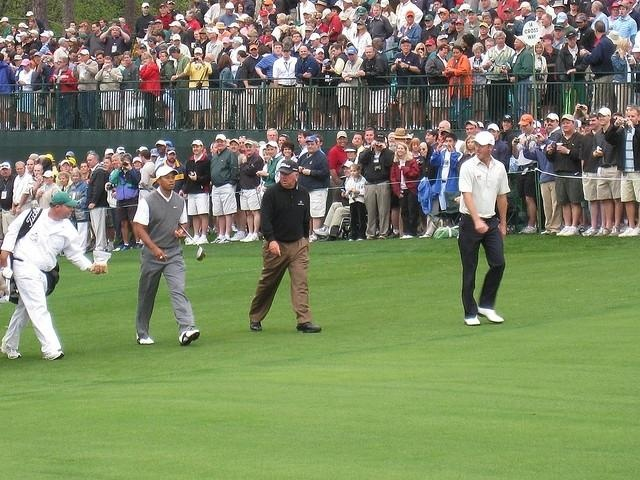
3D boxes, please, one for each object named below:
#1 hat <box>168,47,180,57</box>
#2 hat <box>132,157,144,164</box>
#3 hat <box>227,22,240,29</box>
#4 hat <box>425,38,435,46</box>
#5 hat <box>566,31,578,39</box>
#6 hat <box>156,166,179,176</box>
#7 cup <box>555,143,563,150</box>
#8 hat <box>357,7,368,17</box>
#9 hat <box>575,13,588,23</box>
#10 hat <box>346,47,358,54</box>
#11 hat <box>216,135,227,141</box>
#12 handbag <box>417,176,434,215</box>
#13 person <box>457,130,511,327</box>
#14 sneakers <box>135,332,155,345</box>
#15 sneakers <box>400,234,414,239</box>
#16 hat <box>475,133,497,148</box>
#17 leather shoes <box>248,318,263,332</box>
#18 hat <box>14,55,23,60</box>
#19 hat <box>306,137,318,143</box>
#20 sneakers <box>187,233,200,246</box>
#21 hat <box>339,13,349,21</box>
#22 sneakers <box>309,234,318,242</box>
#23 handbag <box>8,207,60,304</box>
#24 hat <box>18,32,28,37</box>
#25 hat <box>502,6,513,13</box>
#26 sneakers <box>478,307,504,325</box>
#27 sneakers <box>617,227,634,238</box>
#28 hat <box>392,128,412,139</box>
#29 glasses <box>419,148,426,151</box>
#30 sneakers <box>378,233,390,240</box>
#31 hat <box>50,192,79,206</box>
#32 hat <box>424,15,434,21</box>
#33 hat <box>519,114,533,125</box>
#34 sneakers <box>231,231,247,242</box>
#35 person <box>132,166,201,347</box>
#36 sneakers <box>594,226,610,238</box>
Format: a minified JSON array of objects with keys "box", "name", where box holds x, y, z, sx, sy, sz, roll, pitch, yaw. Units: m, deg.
[{"box":[-3.855,-4.982,33.056,0.198,0.290,0.222,8,-7,7],"name":"hat"},{"box":[-4.313,-1.919,29.517,0.201,0.158,0.341,1,-8,-7],"name":"hat"},{"box":[-2.237,-5.647,32.755,0.262,0.148,0.196,-3,7,-16],"name":"hat"},{"box":[2.560,-4.581,28.932,0.160,0.127,0.235,-5,15,23],"name":"hat"},{"box":[5.406,-4.403,26.602,0.328,0.167,0.192,-9,13,-31],"name":"hat"},{"box":[-2.238,-1.000,17.931,0.170,0.127,0.228,-8,-6,-42],"name":"hat"},{"box":[4.678,-1.834,24.331,0.122,0.123,0.195,-2,11,0],"name":"cup"},{"box":[1.051,-5.662,30.907,0.175,0.127,0.253,7,25,13],"name":"hat"},{"box":[5.647,-4.771,26.798,0.197,0.152,0.281,13,12,43],"name":"hat"},{"box":[0.748,-4.515,29.586,0.250,0.178,0.360,-1,11,4],"name":"hat"},{"box":[-2.213,-2.342,28.153,0.174,0.147,0.270,0,-10,2],"name":"hat"},{"box":[2.174,-0.909,25.668,0.317,0.803,0.406,-1,10,2],"name":"handbag"},{"box":[2.403,-0.162,18.122,0.730,2.799,0.662,-4,10,-10],"name":"person"},{"box":[-2.528,1.439,18.078,0.106,0.136,0.297,1,-3,-43],"name":"sneakers"},{"box":[1.833,-0.081,26.253,0.255,0.117,0.097,-5,-4,30],"name":"sneakers"},{"box":[2.388,-1.482,18.135,0.265,0.217,0.369,-1,11,5],"name":"hat"},{"box":[-0.950,1.280,18.575,0.188,0.194,0.098,-1,2,1],"name":"leather shoes"},{"box":[-9.036,-5.498,37.485,0.218,0.122,0.305,-5,4,-16],"name":"hat"},{"box":[-0.154,-2.119,26.067,0.263,0.132,0.339,-2,11,1],"name":"hat"},{"box":[-2.595,-0.014,25.685,0.215,0.291,0.656,0,-5,2],"name":"sneakers"},{"box":[0.609,-5.600,31.292,0.300,0.314,0.171,0,-3,-4],"name":"hat"},{"box":[-0.140,-0.048,27.257,0.122,0.157,0.167,-2,-13,-3],"name":"sneakers"},{"box":[-4.007,0.145,17.852,0.806,1.152,1.182,5,2,-1],"name":"handbag"},{"box":[-9.086,-6.338,38.427,0.223,0.108,0.315,3,8,19],"name":"hat"},{"box":[4.359,-5.354,28.899,0.206,0.113,0.304,6,6,38],"name":"hat"},{"box":[2.484,1.105,18.327,0.421,0.179,0.178,22,18,40],"name":"sneakers"},{"box":[5.871,-0.153,24.107,0.336,0.155,0.131,-11,1,-7],"name":"sneakers"},{"box":[1.773,-2.294,26.924,0.347,0.164,0.424,3,3,4],"name":"hat"},{"box":[2.131,-1.875,25.800,0.121,0.092,0.042,7,14,39],"name":"glasses"},{"box":[1.359,-0.072,26.443,0.185,0.194,0.101,-2,1,0],"name":"sneakers"},{"box":[-3.567,-0.576,17.433,0.286,0.166,0.208,6,12,-19],"name":"hat"},{"box":[2.601,-5.330,29.693,0.165,0.131,0.247,3,-4,27],"name":"hat"},{"box":[4.160,-2.431,25.003,0.210,0.171,0.299,0,0,32],"name":"hat"},{"box":[-1.866,-0.102,28.531,0.146,0.193,0.435,8,9,41],"name":"sneakers"},{"box":[-2.251,0.238,17.971,0.988,2.541,0.822,1,11,13],"name":"person"},{"box":[5.523,-0.176,24.469,0.115,0.147,0.324,2,-2,-31],"name":"sneakers"}]
